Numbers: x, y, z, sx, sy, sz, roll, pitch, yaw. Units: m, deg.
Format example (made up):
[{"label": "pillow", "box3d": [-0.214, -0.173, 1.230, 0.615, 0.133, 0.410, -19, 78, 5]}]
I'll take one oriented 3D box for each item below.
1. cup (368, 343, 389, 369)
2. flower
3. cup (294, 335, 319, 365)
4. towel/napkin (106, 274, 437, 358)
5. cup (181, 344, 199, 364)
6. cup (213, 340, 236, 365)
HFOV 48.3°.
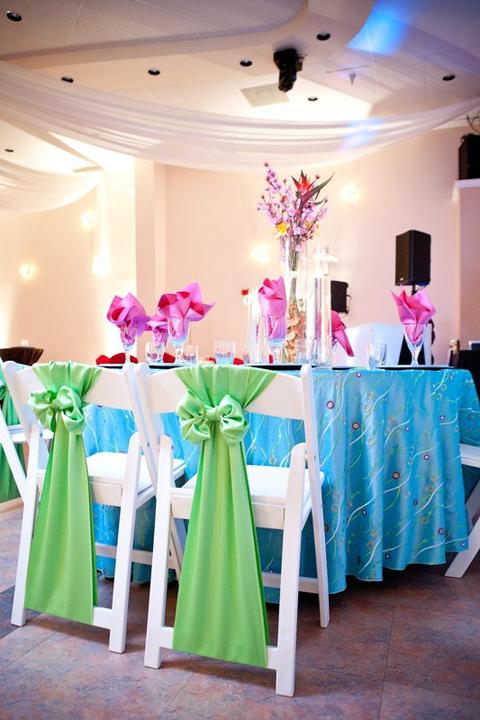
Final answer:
[{"label": "cup", "box3d": [0.505, -0.013, 1.990, 0.081, 0.110, 0.087, 1, -2, 0]}, {"label": "flower", "box3d": [0.212, -0.627, 2.169, 0.263, 0.396, 0.424, 0, -1, 10]}, {"label": "cup", "box3d": [0.241, -0.033, 1.905, 0.079, 0.093, 0.095, 0, -1, 7]}, {"label": "towel/napkin", "box3d": [0.104, -0.147, 2.086, 1.212, 0.311, 0.442, 0, -1, 13]}, {"label": "cup", "box3d": [-0.185, -0.022, 2.028, 0.061, 0.081, 0.066, 4, 0, 0]}, {"label": "cup", "box3d": [-0.059, -0.030, 1.961, 0.082, 0.103, 0.073, 1, 0, -9]}]
